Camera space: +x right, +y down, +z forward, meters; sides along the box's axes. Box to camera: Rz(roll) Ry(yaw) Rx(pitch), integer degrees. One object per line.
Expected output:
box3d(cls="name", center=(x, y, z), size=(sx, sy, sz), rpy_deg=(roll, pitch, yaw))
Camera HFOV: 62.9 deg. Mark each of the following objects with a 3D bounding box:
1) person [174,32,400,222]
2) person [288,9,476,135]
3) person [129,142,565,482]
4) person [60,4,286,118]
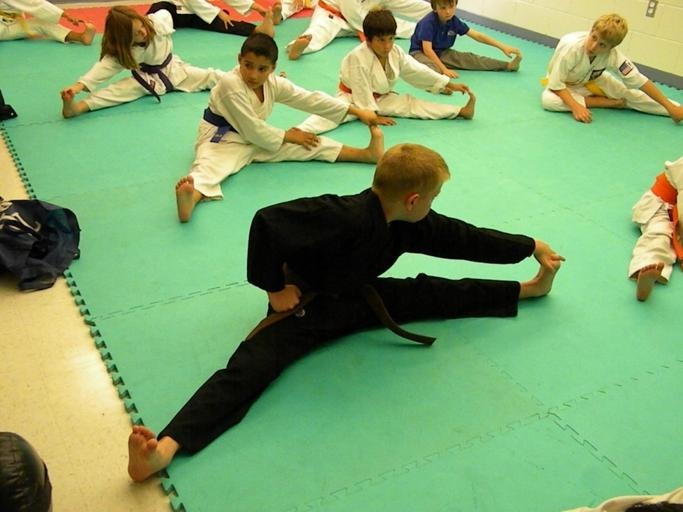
box3d(cls="person", center=(-0.566, -1.059, 4.060), size=(1.687, 0.957, 1.148), rpy_deg=(-18, 40, -32))
box3d(cls="person", center=(0.399, -1.754, 5.356), size=(1.698, 1.038, 1.063), rpy_deg=(-20, 47, -25))
box3d(cls="person", center=(0.010, 0.086, 2.728), size=(2.463, 1.113, 0.898), rpy_deg=(-23, 31, -23))
box3d(cls="person", center=(-1.624, -1.858, 5.340), size=(1.918, 0.834, 0.982), rpy_deg=(-20, 49, -21))
